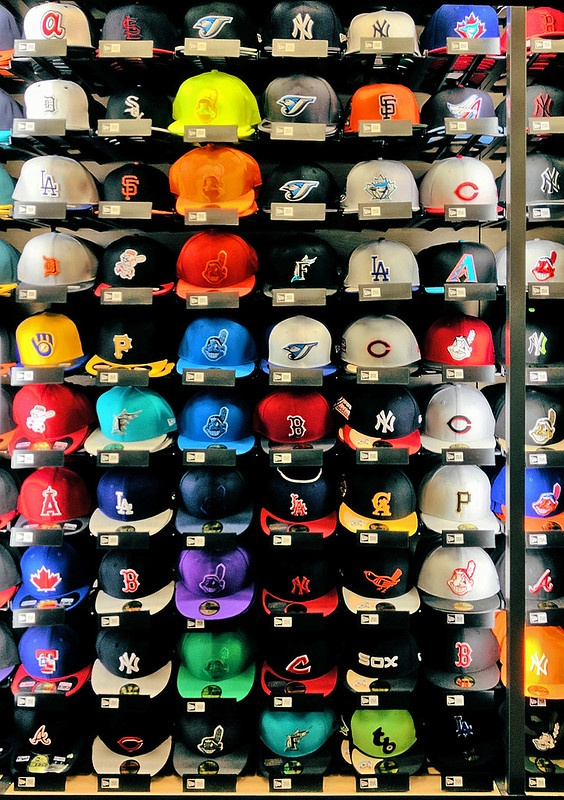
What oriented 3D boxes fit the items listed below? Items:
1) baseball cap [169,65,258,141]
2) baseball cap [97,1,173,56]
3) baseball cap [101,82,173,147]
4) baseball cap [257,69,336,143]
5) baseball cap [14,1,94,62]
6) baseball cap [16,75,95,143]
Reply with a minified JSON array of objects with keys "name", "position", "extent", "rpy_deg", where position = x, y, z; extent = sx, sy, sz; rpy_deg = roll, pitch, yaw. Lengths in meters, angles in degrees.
[{"name":"baseball cap","position":[-0.217,-0.964,3.019],"extent":[0.287,0.172,0.341],"rpy_deg":[2,-1,-19]},{"name":"baseball cap","position":[-0.455,-1.177,2.994],"extent":[0.234,0.148,0.124],"rpy_deg":[-5,25,-7]},{"name":"baseball cap","position":[-0.518,-0.940,3.041],"extent":[0.305,0.150,0.227],"rpy_deg":[23,31,37]},{"name":"baseball cap","position":[0.053,-0.977,3.038],"extent":[0.248,0.146,0.307],"rpy_deg":[0,38,3]},{"name":"baseball cap","position":[-0.719,-1.193,2.991],"extent":[0.186,0.123,0.232],"rpy_deg":[1,34,-2]},{"name":"baseball cap","position":[-0.744,-0.941,3.024],"extent":[0.242,0.160,0.230],"rpy_deg":[-5,25,-8]}]
